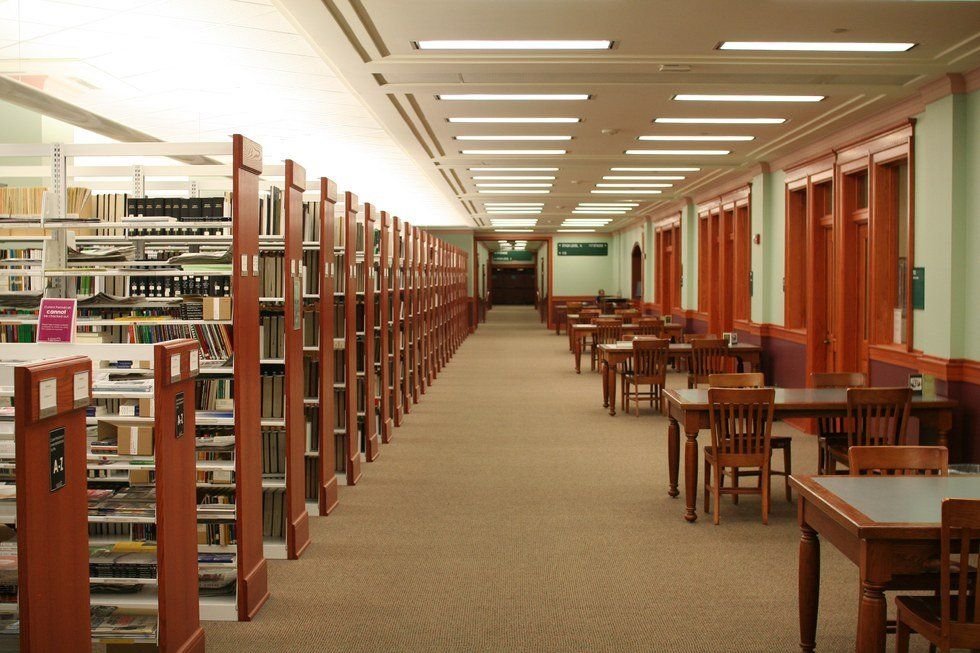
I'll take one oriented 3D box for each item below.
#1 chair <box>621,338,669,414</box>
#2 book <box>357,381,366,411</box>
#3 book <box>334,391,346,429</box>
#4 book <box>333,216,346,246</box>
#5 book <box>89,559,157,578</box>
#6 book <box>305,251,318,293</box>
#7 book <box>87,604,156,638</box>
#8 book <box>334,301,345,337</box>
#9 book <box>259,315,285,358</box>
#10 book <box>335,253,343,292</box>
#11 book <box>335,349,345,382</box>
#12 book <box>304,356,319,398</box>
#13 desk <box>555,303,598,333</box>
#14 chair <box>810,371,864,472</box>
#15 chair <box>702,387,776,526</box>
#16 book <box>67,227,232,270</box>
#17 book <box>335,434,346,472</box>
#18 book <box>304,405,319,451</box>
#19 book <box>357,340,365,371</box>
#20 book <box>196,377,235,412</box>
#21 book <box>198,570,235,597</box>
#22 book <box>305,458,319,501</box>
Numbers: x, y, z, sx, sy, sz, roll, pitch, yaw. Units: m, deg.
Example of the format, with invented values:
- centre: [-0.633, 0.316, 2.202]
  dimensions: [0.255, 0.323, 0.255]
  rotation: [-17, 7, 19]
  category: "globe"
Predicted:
- centre: [2.301, 0.655, 11.749]
  dimensions: [0.640, 1.085, 2.296]
  rotation: [0, 2, 10]
  category: "chair"
- centre: [-1.370, 0.771, 8.624]
  dimensions: [0.084, 0.337, 0.134]
  rotation: [-1, 2, -11]
  category: "book"
- centre: [-1.476, 0.834, 7.923]
  dimensions: [0.108, 0.397, 0.045]
  rotation: [1, 3, 27]
  category: "book"
- centre: [-1.590, -1.021, 8.497]
  dimensions: [0.095, 0.345, 0.120]
  rotation: [-1, 2, -11]
  category: "book"
- centre: [-2.465, 1.670, 5.366]
  dimensions: [0.221, 0.051, 0.217]
  rotation: [2, -3, -7]
  category: "book"
- centre: [-1.699, -0.530, 7.634]
  dimensions: [0.119, 0.410, 0.069]
  rotation: [-1, 2, 1]
  category: "book"
- centre: [-2.353, 1.925, 5.124]
  dimensions: [0.545, 0.141, 0.199]
  rotation: [0, 2, 10]
  category: "book"
- centre: [-1.529, -0.065, 8.150]
  dimensions: [0.092, 0.346, 0.066]
  rotation: [-1, 2, 1]
  category: "book"
- centre: [-1.808, 0.103, 6.883]
  dimensions: [0.297, 0.381, 0.391]
  rotation: [0, -1, -4]
  category: "book"
- centre: [-1.560, -0.564, 8.320]
  dimensions: [0.082, 0.399, 0.209]
  rotation: [-1, 2, -10]
  category: "book"
- centre: [-1.492, 0.401, 7.972]
  dimensions: [0.078, 0.331, 0.136]
  rotation: [-2, 3, -35]
  category: "book"
- centre: [-1.652, 0.476, 7.405]
  dimensions: [0.110, 0.357, 0.110]
  rotation: [-1, 2, -19]
  category: "book"
- centre: [2.550, -0.371, 24.838]
  dimensions: [1.249, 0.901, 0.979]
  rotation: [0, 7, 2]
  category: "desk"
- centre: [3.249, 0.748, 7.559]
  dimensions: [0.479, 0.817, 0.453]
  rotation: [0, -10, 35]
  category: "chair"
- centre: [2.248, 1.103, 7.155]
  dimensions: [0.593, 1.193, 1.183]
  rotation: [0, 2, 17]
  category: "chair"
- centre: [-2.670, -0.644, 6.333]
  dimensions: [0.747, 0.168, 0.695]
  rotation: [0, 1, 13]
  category: "book"
- centre: [-1.486, 1.289, 7.993]
  dimensions: [0.096, 0.412, 0.216]
  rotation: [-1, 2, -14]
  category: "book"
- centre: [-1.633, 0.946, 7.359]
  dimensions: [0.108, 0.399, 0.131]
  rotation: [-1, 2, -20]
  category: "book"
- centre: [-1.376, 0.324, 8.604]
  dimensions: [0.114, 0.316, 0.064]
  rotation: [1, 3, 39]
  category: "book"
- centre: [-2.073, 0.513, 6.090]
  dimensions: [0.250, 0.319, 0.337]
  rotation: [0, -1, -5]
  category: "book"
- centre: [-1.939, 1.864, 5.735]
  dimensions: [0.154, 0.073, 0.207]
  rotation: [1, 4, -2]
  category: "book"
- centre: [-1.624, 1.408, 7.283]
  dimensions: [0.128, 0.407, 0.083]
  rotation: [0, 2, 10]
  category: "book"
